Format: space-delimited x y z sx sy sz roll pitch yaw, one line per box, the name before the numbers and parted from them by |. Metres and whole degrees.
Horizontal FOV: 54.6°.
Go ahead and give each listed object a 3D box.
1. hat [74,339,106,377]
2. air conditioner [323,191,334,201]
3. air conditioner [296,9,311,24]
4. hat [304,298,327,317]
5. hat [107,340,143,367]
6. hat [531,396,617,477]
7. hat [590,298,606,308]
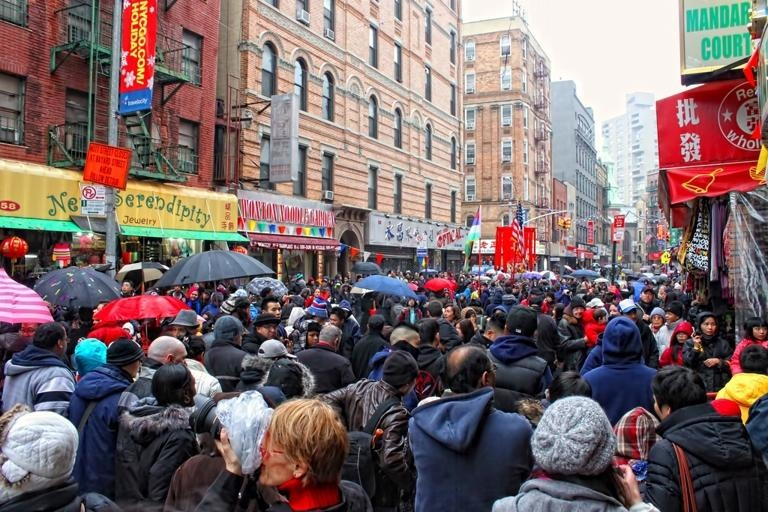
hat | -4.052 1.379 10.193 0.510 0.497 0.399 -2 -5 30
air conditioner | -2.334 -2.569 31.612 0.261 0.511 0.749 -1 -5 22
air conditioner | -3.240 -9.609 29.825 0.319 0.614 0.738 -2 -5 29
hat | -1.181 0.917 13.130 0.342 0.226 0.281 25 14 18
hat | -3.305 1.218 9.472 0.383 0.277 0.295 -10 2 38
hat | 1.933 1.861 7.609 0.668 0.843 0.401 0 12 15
hat | 3.996 0.874 13.925 0.320 0.172 0.473 -5 -3 9
